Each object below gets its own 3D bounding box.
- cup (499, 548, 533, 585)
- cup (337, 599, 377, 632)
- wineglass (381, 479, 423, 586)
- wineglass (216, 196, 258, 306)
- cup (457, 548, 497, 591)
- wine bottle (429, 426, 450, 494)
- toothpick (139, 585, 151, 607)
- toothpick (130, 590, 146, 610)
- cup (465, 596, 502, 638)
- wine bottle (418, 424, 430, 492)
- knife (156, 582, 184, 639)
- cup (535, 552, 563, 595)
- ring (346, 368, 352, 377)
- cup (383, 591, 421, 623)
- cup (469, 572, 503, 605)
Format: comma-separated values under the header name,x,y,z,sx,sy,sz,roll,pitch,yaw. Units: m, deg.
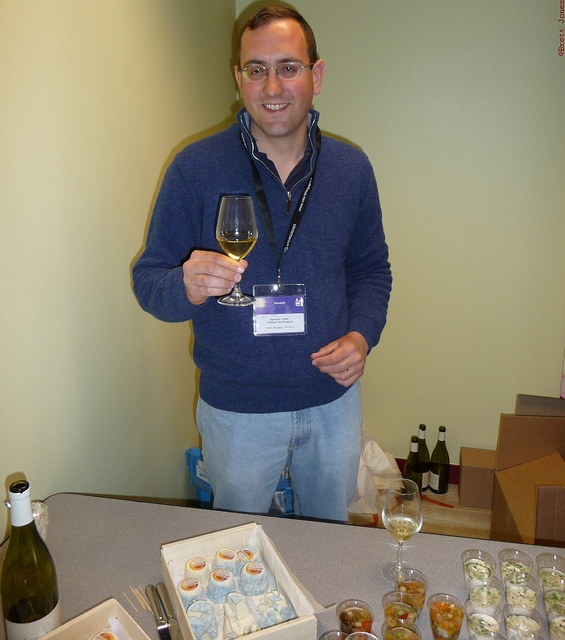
name,x,y,z,sx,sy,sz,roll,pitch,yaw
cup,0.430,0.453,0.983,0.042,0.047,0.049,2,-2,2
cup,0.112,0.458,0.824,0.041,0.040,0.048,2,-3,0
wineglass,0.224,0.396,0.999,0.071,0.199,0.077,3,14,7
wineglass,-0.108,-0.150,1.223,0.090,0.252,0.252,0,8,-6
cup,0.350,0.444,0.948,0.045,0.045,0.051,0,-3,-1
wine bottle,0.915,0.791,3.053,0.139,0.401,0.121,0,8,-3
toothpick,-0.236,0.466,0.913,0.006,0.004,0.054,-21,53,-17
toothpick,-0.236,0.474,0.886,0.006,0.003,0.053,-9,29,-28
cup,0.311,0.459,0.834,0.048,0.048,0.057,2,13,4
wine bottle,0.805,0.809,3.043,0.052,0.371,0.125,6,10,35
knife,-0.184,0.467,0.855,0.021,0.015,0.161,-1,34,-21
cup,0.487,0.465,0.970,0.046,0.054,0.044,3,-8,1
ring,0.172,0.140,1.389,0.003,0.014,0.014,-28,12,-6
cup,0.188,0.467,0.846,0.057,0.051,0.060,1,8,0
cup,0.341,0.443,0.895,0.044,0.045,0.052,-1,9,2
